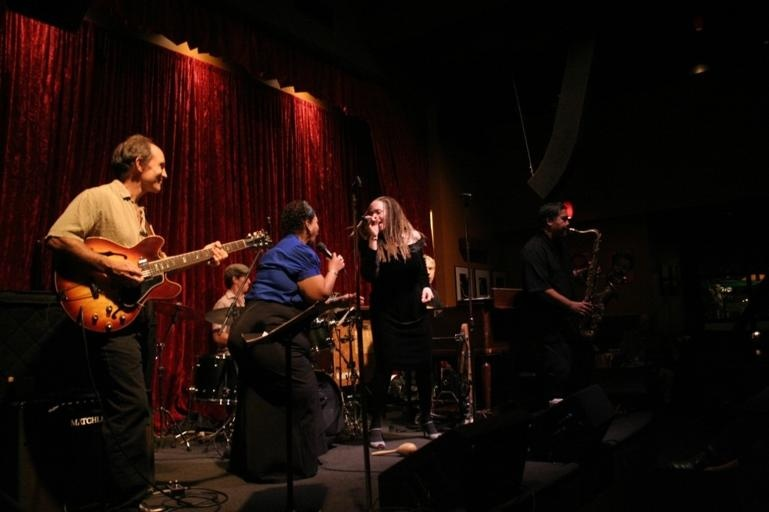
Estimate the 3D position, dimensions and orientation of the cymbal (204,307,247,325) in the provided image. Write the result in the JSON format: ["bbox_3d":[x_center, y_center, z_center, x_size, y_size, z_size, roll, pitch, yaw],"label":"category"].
[{"bbox_3d":[-1.745,0.642,6.739,0.363,0.086,0.374,1,8,43],"label":"cymbal"}]

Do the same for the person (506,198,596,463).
[{"bbox_3d":[1.842,0.494,6.760,0.778,2.173,0.771,-5,-10,18],"label":"person"}]

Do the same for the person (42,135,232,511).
[{"bbox_3d":[-2.206,0.462,4.996,0.850,3.060,0.416,5,-12,-37],"label":"person"}]

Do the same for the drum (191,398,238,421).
[{"bbox_3d":[-1.996,1.797,7.264,0.365,0.176,0.487,16,-28,-41],"label":"drum"}]

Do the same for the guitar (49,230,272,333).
[{"bbox_3d":[-2.070,0.257,5.737,0.171,0.475,1.277,-17,-1,41],"label":"guitar"}]

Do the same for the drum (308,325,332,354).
[{"bbox_3d":[-0.696,0.892,6.812,0.266,0.265,0.260,-21,5,-43],"label":"drum"}]

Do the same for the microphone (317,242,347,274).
[{"bbox_3d":[-0.640,0.028,7.362,0.213,0.203,0.547,29,11,-41],"label":"microphone"}]
